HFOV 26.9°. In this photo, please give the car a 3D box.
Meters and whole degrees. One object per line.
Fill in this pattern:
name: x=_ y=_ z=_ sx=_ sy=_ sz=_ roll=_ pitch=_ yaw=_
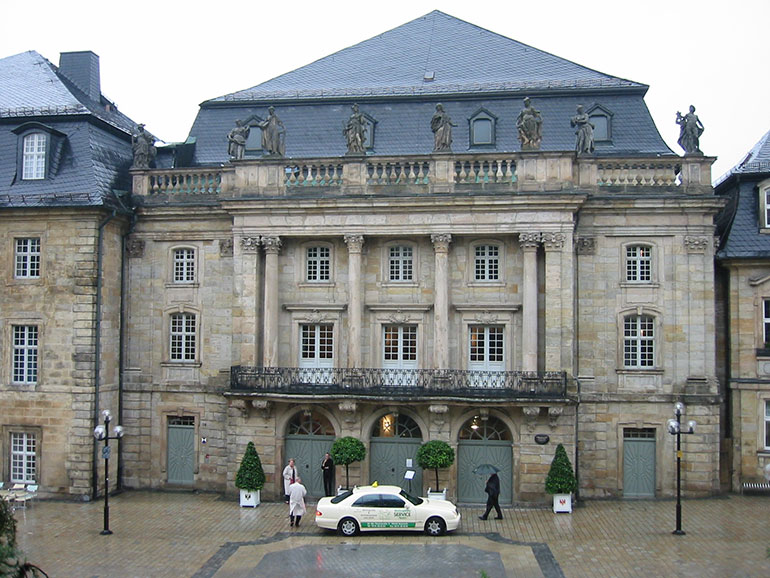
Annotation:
car: x=0.175 y=9.038 z=66.491 sx=5.554 sy=1.632 sz=2.256 roll=-1 pitch=1 yaw=-2
